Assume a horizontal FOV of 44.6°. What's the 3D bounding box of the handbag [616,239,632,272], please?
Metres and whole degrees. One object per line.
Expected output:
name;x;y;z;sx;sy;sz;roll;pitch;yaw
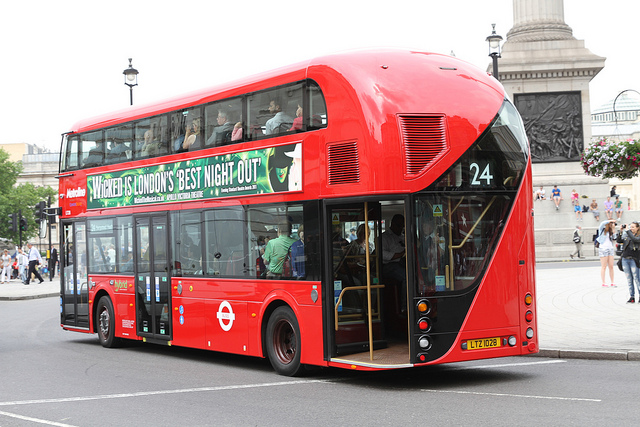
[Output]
handbag;8.578;1.135;21.900;0.162;0.693;0.484;27;12;23

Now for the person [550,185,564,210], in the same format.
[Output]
person;12.639;-0.888;41.437;0.629;1.189;0.679;-2;-17;14
